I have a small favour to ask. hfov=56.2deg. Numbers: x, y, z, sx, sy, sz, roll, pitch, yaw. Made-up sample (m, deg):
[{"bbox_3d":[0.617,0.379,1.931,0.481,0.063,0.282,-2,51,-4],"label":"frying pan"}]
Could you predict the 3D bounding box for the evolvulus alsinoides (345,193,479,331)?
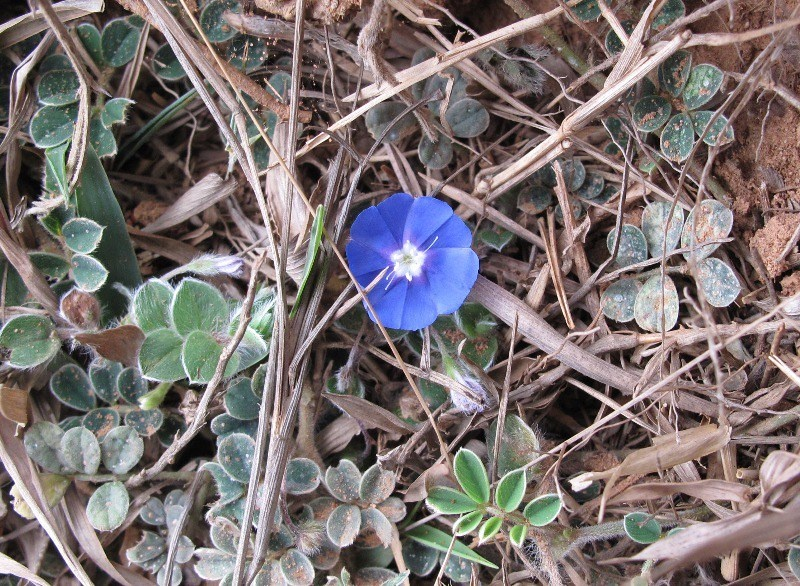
[{"bbox_3d":[0.030,-0.071,1.666,0.264,0.135,0.295,-26,67,-16],"label":"evolvulus alsinoides"}]
